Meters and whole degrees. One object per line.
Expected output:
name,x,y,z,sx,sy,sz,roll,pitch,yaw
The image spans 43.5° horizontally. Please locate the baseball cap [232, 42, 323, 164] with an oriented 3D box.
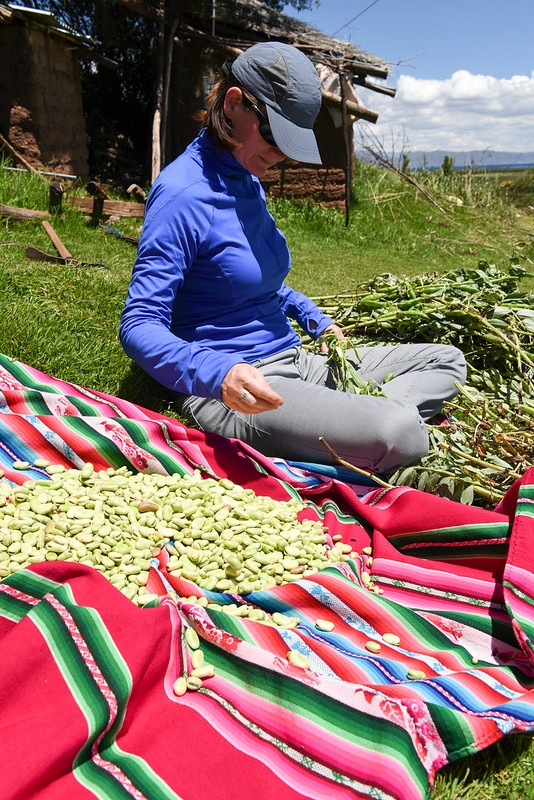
baseball cap,0.031,-1.013,2.287,0.294,0.372,0.186,0,13,-3
